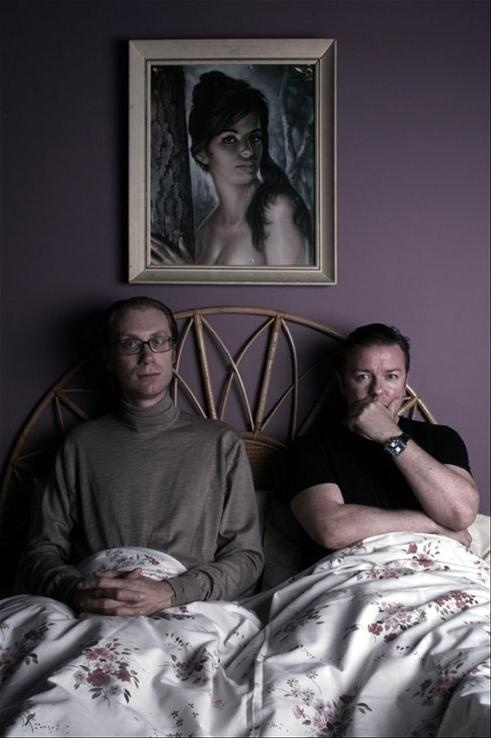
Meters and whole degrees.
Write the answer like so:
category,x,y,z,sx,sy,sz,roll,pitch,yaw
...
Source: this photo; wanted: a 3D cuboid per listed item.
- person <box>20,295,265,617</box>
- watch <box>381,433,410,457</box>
category,x,y,z,sx,sy,sz,roll,pitch,yaw
person,-0.281,0.236,1.866,0.633,0.832,0.504,1,-1,8
watch,0.372,0.190,1.788,0.062,0.042,0.060,-42,-13,-37
